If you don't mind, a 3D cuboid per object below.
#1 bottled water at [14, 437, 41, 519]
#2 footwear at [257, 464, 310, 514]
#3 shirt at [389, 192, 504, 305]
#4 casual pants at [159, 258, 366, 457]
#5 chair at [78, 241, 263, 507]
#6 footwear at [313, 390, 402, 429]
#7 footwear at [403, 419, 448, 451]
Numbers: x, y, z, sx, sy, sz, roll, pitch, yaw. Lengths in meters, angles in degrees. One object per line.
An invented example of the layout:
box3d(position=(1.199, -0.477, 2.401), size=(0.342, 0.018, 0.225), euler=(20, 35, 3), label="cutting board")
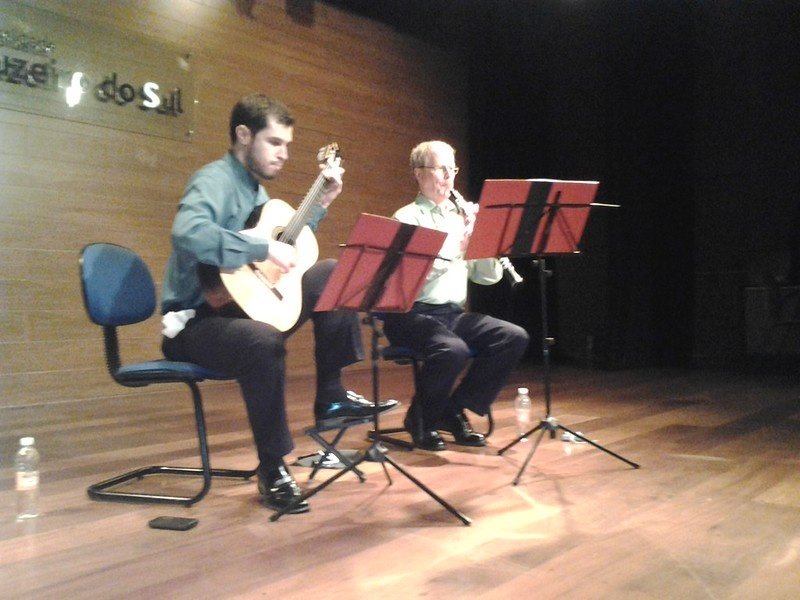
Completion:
box3d(position=(-1.393, 0.704, 2.568), size=(0.112, 0.337, 0.102), euler=(-1, -17, -30), label="bottled water")
box3d(position=(-0.457, 0.715, 2.556), size=(0.103, 0.119, 0.282), euler=(5, -10, -34), label="footwear")
box3d(position=(0.215, -0.213, 3.640), size=(0.587, 0.573, 0.256), euler=(2, -11, -33), label="shirt")
box3d(position=(-0.529, 0.293, 2.644), size=(0.570, 0.886, 0.234), euler=(-7, -9, -44), label="casual pants")
box3d(position=(-0.882, 0.257, 2.633), size=(0.722, 0.897, 0.602), euler=(4, 0, 1), label="chair")
box3d(position=(-0.138, 0.439, 2.712), size=(0.410, 0.132, 0.122), euler=(-7, -6, -10), label="footwear")
box3d(position=(0.119, 0.670, 3.330), size=(0.106, 0.080, 0.221), euler=(4, -7, -44), label="footwear")
